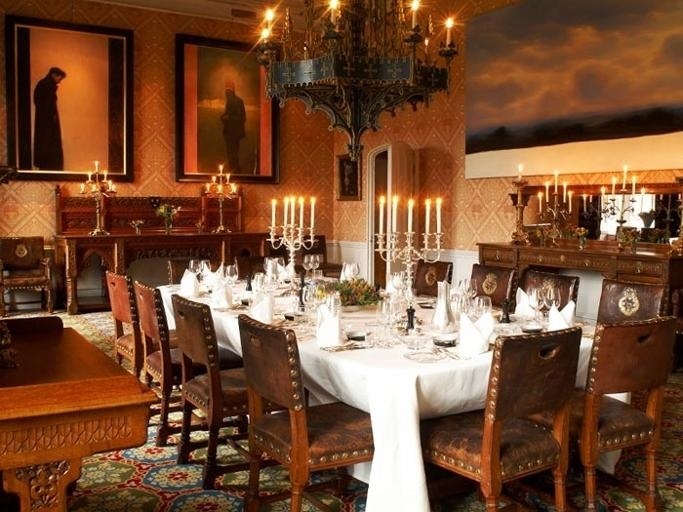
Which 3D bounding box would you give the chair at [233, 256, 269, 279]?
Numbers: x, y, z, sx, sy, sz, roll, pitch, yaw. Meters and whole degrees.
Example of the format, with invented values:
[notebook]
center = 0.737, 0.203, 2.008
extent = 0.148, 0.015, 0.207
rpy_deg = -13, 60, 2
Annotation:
[chair]
center = -0.919, 0.110, 5.714
extent = 0.256, 0.311, 0.242
rpy_deg = 1, 1, -13
